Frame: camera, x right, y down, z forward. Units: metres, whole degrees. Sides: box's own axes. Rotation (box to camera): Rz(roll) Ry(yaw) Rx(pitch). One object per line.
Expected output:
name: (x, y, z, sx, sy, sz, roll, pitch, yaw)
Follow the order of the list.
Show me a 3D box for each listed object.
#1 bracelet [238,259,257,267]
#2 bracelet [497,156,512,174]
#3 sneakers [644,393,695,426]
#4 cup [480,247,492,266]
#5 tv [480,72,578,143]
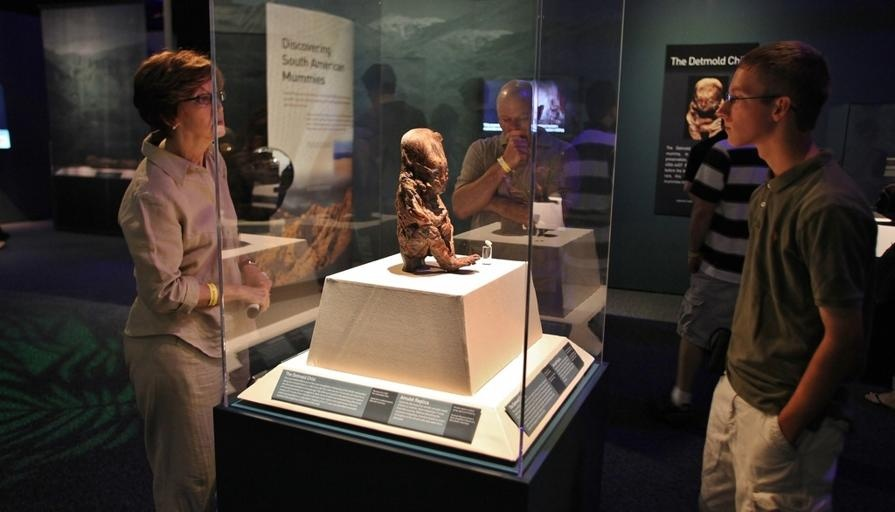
bracelet: (-1.135, 0.034, 3.538, 0.058, 0.021, 0.049, -21, 21, -23)
bracelet: (0.330, -0.530, 3.687, 0.077, 0.025, 0.099, 32, 21, -50)
sneakers: (1.948, 1.339, 5.504, 0.169, 0.178, 0.484, -2, 6, -24)
cup: (0.235, -0.017, 3.877, 0.065, 0.101, 0.107, 1, 17, 2)
tv: (0.475, -0.811, 3.522, 0.475, 0.341, 0.892, -1, 17, -6)
